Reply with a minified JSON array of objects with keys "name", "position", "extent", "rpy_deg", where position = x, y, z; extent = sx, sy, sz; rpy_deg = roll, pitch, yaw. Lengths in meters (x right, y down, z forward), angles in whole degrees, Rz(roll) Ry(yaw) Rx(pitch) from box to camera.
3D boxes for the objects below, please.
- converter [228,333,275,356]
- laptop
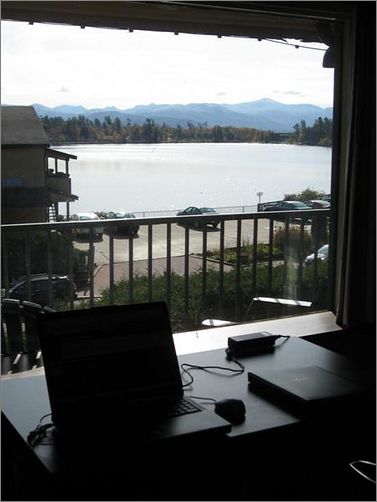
[{"name":"converter","position":[0.202,0.297,1.461],"extent":[0.116,0.043,0.067],"rpy_deg":[-5,16,-24]},{"name":"laptop","position":[-0.137,0.188,1.044],"extent":[0.393,0.274,0.345],"rpy_deg":[-2,6,-23]}]
